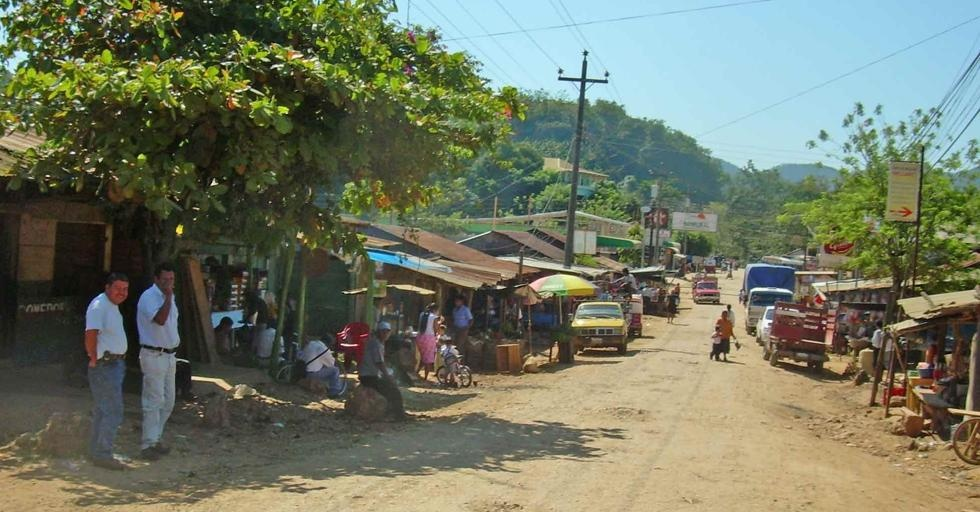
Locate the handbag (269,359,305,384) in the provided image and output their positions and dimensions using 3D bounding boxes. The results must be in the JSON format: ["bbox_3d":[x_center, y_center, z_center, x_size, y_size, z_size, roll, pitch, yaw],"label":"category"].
[{"bbox_3d":[-5.308,3.012,21.474,0.795,0.587,0.565,11,13,30],"label":"handbag"}]

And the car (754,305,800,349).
[{"bbox_3d":[11.939,3.037,34.470,1.373,1.225,2.797,1,2,9],"label":"car"}]

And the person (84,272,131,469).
[{"bbox_3d":[-7.748,2.310,16.753,0.755,3.834,1.101,-1,14,-24],"label":"person"}]

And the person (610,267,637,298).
[{"bbox_3d":[7.840,1.641,48.593,0.972,1.039,2.437,19,5,10],"label":"person"}]

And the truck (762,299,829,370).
[{"bbox_3d":[11.121,2.780,30.263,1.665,1.614,2.878,4,1,3],"label":"truck"}]

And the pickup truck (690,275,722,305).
[{"bbox_3d":[16.192,2.697,61.489,2.094,1.602,4.948,0,-3,6],"label":"pickup truck"}]

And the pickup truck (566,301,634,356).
[{"bbox_3d":[4.309,2.398,33.778,2.326,1.751,4.337,0,17,-1],"label":"pickup truck"}]

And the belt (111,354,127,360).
[{"bbox_3d":[-7.602,2.078,16.875,0.287,0.059,0.265,-1,-3,7],"label":"belt"}]

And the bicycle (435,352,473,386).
[{"bbox_3d":[-1.045,3.524,24.916,1.354,0.746,0.705,-5,2,35],"label":"bicycle"}]

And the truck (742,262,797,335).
[{"bbox_3d":[15.527,1.929,44.808,3.142,3.137,5.649,0,-3,9],"label":"truck"}]

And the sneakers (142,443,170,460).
[{"bbox_3d":[-6.961,4.099,17.269,0.633,0.236,0.202,-6,15,-25],"label":"sneakers"}]

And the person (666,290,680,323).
[{"bbox_3d":[10.485,2.989,47.291,0.419,1.576,0.974,-5,-5,29],"label":"person"}]
